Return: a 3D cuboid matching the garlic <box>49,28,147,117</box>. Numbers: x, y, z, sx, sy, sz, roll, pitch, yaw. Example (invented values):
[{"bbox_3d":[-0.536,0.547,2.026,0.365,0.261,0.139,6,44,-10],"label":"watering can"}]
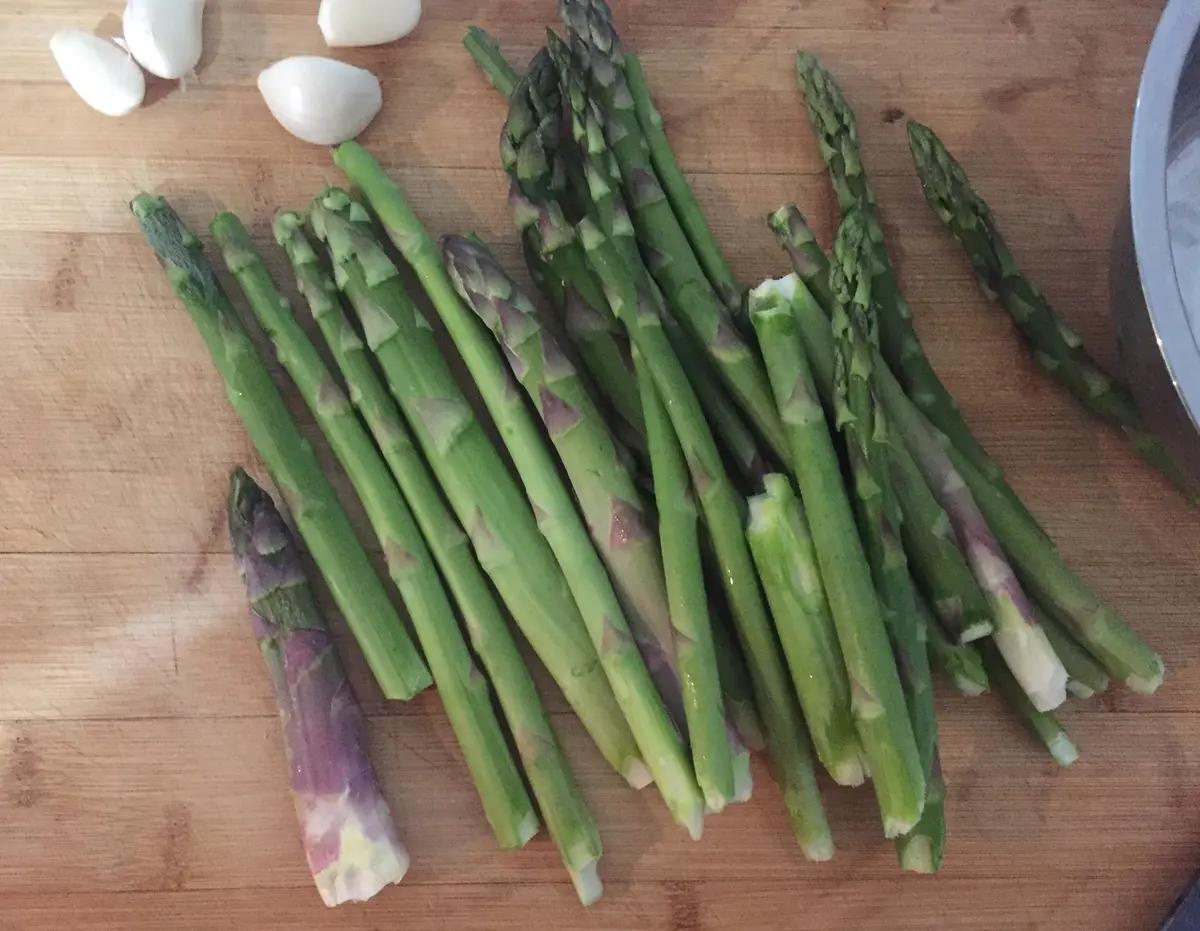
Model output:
[{"bbox_3d":[-0.786,-0.612,2.180,0.152,0.049,0.108,43,84,-9],"label":"garlic"}]
